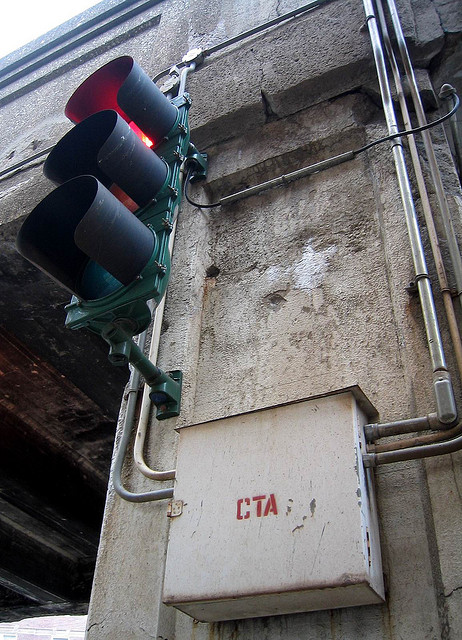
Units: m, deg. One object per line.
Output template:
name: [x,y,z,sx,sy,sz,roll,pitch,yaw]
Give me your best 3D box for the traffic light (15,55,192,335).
traffic light: [-0.480,-0.588,2.677,0.529,1.402,0.581,-19,-41,31]
